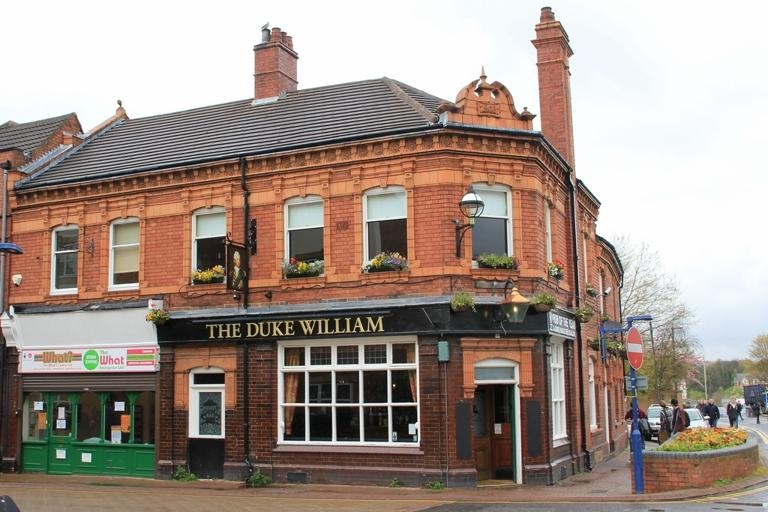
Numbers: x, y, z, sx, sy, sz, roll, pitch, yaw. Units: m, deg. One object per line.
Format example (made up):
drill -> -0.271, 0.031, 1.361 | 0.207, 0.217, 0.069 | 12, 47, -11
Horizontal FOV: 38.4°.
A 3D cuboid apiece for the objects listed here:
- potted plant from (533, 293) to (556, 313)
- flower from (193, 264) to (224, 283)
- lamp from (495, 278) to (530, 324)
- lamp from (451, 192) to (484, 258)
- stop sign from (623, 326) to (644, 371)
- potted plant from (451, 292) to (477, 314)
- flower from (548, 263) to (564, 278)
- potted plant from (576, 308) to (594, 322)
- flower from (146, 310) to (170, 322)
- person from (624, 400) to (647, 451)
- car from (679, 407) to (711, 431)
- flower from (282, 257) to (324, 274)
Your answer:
potted plant -> 5.171, 1.545, 35.914 | 0.623, 0.509, 0.605 | -5, -10, 21
flower -> -6.044, 0.637, 37.841 | 1.250, 0.642, 0.265 | -7, -16, 14
lamp -> 4.137, 1.537, 35.722 | 1.127, 1.731, 1.225 | 2, -16, -12
lamp -> 2.766, -1.173, 35.514 | 1.105, 2.231, 1.451 | -3, -16, -2
stop sign -> 7.614, 2.791, 33.648 | 0.031, 1.347, 1.360 | -7, -10, 35
potted plant -> 2.464, 1.506, 35.200 | 0.675, 0.493, 0.681 | 2, -6, -12
flower -> 5.808, 0.552, 37.731 | 0.583, 0.406, 0.495 | 4, -24, 1
potted plant -> 7.027, 2.077, 38.991 | 0.503, 0.390, 0.508 | -1, -6, 0
flower -> -7.672, 2.064, 37.645 | 0.496, 0.345, 0.507 | 1, -4, 8
person -> 9.305, 6.222, 40.828 | 0.605, 1.796, 0.531 | -7, 21, 18
car -> 13.518, 7.196, 48.284 | 1.299, 1.007, 2.703 | 1, 4, 18
flower -> -2.709, 0.404, 36.810 | 1.385, 0.630, 0.287 | -5, -16, 7
